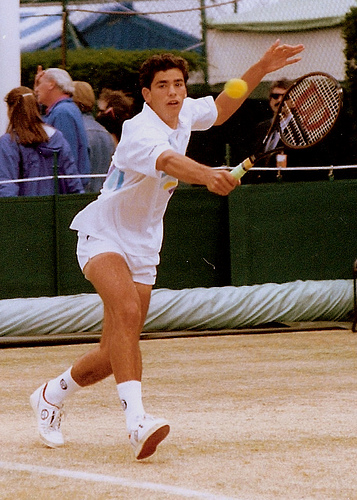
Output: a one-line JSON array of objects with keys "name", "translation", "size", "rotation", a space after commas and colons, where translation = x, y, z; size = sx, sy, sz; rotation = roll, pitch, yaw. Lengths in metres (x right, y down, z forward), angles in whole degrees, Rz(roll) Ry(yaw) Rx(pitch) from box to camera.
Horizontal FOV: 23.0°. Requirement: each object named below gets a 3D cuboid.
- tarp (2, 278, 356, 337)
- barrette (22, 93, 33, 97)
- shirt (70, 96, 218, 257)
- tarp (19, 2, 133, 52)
[{"name": "tarp", "translation": [0.029, 0.417, 6.568], "size": [2.613, 0.494, 0.375], "rotation": [2, 13, -5]}, {"name": "barrette", "translation": [-1.039, -1.041, 6.015], "size": [0.017, 0.014, 0.086], "rotation": [7, 10, 18]}, {"name": "shirt", "translation": [-0.178, -0.250, 3.443], "size": [0.477, 0.607, 0.538], "rotation": [2, 13, -7]}, {"name": "tarp", "translation": [-1.146, -2.279, 9.143], "size": [0.991, 0.555, 0.402], "rotation": [1, 13, -12]}]
